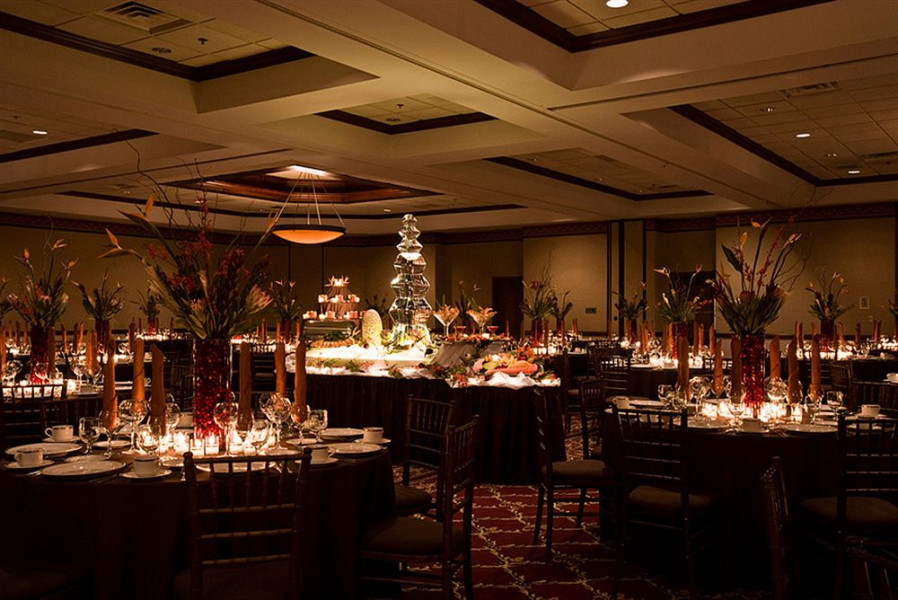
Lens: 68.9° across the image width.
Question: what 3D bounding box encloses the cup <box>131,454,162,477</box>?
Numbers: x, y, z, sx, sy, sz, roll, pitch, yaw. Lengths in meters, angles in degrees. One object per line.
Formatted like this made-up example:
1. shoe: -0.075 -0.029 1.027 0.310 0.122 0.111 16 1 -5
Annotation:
1. cup: -1.803 0.998 3.919 0.207 0.115 0.171 2 -5 -32

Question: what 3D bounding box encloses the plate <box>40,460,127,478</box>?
1. plate: -2.216 1.033 4.015 0.418 0.054 0.392 -3 -5 28

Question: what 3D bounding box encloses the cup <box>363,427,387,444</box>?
1. cup: -0.536 0.996 4.755 0.151 0.108 0.114 -1 3 -29

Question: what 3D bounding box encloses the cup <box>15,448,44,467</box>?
1. cup: -2.628 0.976 4.092 0.148 0.090 0.110 3 -2 -25

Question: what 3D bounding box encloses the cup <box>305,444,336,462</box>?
1. cup: -0.810 0.978 4.228 0.134 0.085 0.208 -1 -11 1

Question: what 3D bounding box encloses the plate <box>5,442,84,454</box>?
1. plate: -2.714 1.003 4.436 0.213 0.022 0.212 -2 -3 23
